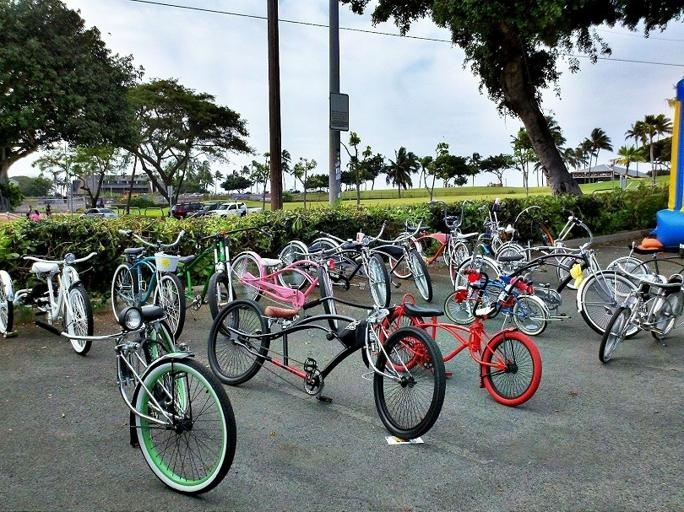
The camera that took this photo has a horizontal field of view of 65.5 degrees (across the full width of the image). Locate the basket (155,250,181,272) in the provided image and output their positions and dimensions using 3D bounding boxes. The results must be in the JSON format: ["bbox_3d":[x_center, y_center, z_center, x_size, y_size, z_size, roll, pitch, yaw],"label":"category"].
[{"bbox_3d":[-2.362,0.076,7.195,0.248,0.203,0.282,1,-4,-28],"label":"basket"}]

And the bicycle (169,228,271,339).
[{"bbox_3d":[-2.024,0.309,7.752,1.720,1.096,1.097,-6,-3,22],"label":"bicycle"}]

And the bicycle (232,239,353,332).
[{"bbox_3d":[-0.684,0.368,7.357,1.431,0.947,0.896,20,16,25],"label":"bicycle"}]

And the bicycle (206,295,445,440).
[{"bbox_3d":[-0.286,0.927,5.337,2.699,1.188,0.946,10,0,25],"label":"bicycle"}]

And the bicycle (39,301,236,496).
[{"bbox_3d":[-1.447,1.125,4.354,0.934,1.421,1.384,-6,13,-30],"label":"bicycle"}]
